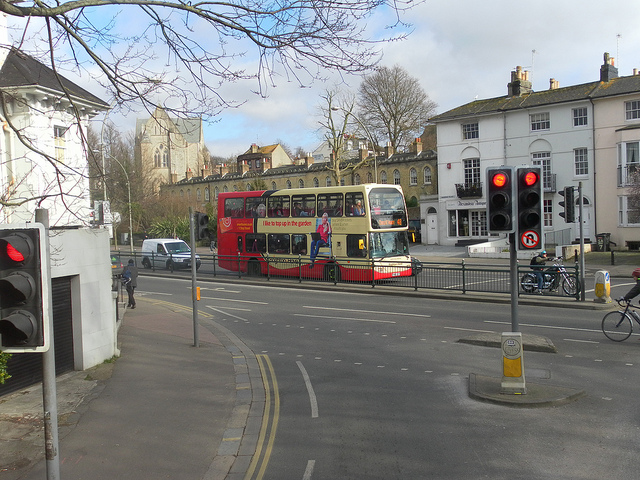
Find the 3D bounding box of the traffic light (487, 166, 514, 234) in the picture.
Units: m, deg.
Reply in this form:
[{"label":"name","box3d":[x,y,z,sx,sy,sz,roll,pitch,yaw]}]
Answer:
[{"label":"traffic light","box3d":[3.732,-0.825,13.628,0.529,1.393,0.358,0,6,16]}]

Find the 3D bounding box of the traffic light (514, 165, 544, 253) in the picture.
[{"label":"traffic light","box3d":[4.263,-0.664,13.493,0.542,1.723,0.428,0,6,12]}]

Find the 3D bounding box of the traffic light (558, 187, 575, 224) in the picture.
[{"label":"traffic light","box3d":[9.196,-1.316,24.548,0.519,1.421,0.650,16,-18,-40]}]

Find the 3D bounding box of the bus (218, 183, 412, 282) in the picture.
[{"label":"bus","box3d":[-0.494,-0.436,34.158,11.325,5.512,3.952,0,3,38]}]

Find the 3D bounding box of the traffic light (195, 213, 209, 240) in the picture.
[{"label":"traffic light","box3d":[-3.311,-0.396,18.553,0.350,0.747,0.825,-3,6,-12]}]
